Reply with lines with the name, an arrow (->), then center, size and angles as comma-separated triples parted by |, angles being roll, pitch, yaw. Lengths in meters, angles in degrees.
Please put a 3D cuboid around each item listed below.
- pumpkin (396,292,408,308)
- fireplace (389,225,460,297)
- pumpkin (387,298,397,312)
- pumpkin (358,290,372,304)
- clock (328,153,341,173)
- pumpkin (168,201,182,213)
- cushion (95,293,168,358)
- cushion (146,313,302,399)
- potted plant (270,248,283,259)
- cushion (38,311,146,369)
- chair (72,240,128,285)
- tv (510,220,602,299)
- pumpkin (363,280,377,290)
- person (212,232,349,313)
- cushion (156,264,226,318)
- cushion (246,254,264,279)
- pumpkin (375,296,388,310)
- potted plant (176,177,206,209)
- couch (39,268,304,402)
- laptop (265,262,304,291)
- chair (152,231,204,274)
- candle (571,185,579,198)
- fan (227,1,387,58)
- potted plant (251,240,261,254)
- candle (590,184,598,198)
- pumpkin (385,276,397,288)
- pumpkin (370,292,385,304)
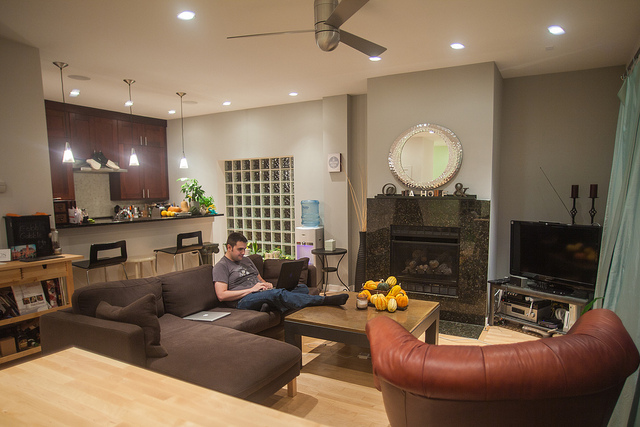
pumpkin -> 0.834, 0.887, 4.222 | 0.112, 0.145, 0.108 | 9, -6, -38
fireplace -> 1.417, 0.618, 5.479 | 1.006, 0.926, 0.357 | 1, 0, 29
pumpkin -> 0.720, 0.907, 4.145 | 0.086, 0.112, 0.069 | 4, -10, 11
pumpkin -> 0.468, 0.860, 4.339 | 0.115, 0.135, 0.119 | -2, 0, -4
clock -> 0.246, -0.814, 6.721 | 0.193, 0.308, 0.106 | 2, 15, 8
pumpkin -> -2.416, -0.079, 6.972 | 0.133, 0.124, 0.131 | 2, 3, 10
cushion -> -1.502, 0.913, 3.511 | 0.545, 0.541, 0.186 | -11, 3, 29
cushion -> -0.921, 1.178, 3.521 | 1.071, 0.145, 0.580 | 6, 8, 30
potted plant -> -0.769, 0.685, 7.239 | 0.149, 0.162, 0.148 | 2, 4, 21
cushion -> -1.948, 1.067, 3.566 | 1.098, 0.394, 0.178 | 6, 15, 21
chair -> -2.860, 0.716, 5.481 | 0.534, 0.804, 0.480 | 10, 12, 35
tv -> 2.779, 0.551, 4.888 | 0.319, 0.872, 0.970 | 1, 1, -41
pumpkin -> 0.546, 0.774, 4.495 | 0.126, 0.091, 0.193 | 1, 13, 1
person -> -0.454, 0.670, 4.638 | 1.436, 0.781, 0.652 | 1, 10, 20
cushion -> -1.392, 0.853, 4.458 | 0.260, 0.470, 0.715 | 12, 8, 29
cushion -> -0.785, 0.646, 5.038 | 0.166, 0.279, 0.255 | 7, 12, 32
pumpkin -> 0.622, 0.904, 4.203 | 0.120, 0.136, 0.122 | 3, -5, -39
potted plant -> -2.182, -0.376, 7.358 | 0.348, 0.552, 0.387 | -3, -5, -20
couch -> -1.152, 1.084, 3.603 | 1.448, 0.656, 1.689 | 2, 0, 23
laptop -> -0.390, 0.671, 4.653 | 0.285, 0.250, 0.366 | 8, 3, 30
chair -> -2.101, 0.473, 6.494 | 0.585, 0.780, 0.804 | 5, 4, 28
candle -> 3.150, -0.274, 5.159 | 0.069, 0.149, 0.102 | 7, 15, 23
fan -> 0.149, -1.545, 3.508 | 0.705, 0.267, 0.659 | 1, 4, 23
potted plant -> -1.144, 0.627, 7.709 | 0.189, 0.185, 0.189 | 0, 1, 14
candle -> 3.329, -0.278, 5.070 | 0.081, 0.157, 0.227 | 9, 16, 31
pumpkin -> 0.751, 0.733, 4.442 | 0.098, 0.077, 0.108 | 1, 1, -32
pumpkin -> 0.594, 0.868, 4.292 | 0.103, 0.099, 0.102 | -11, -1, -33
